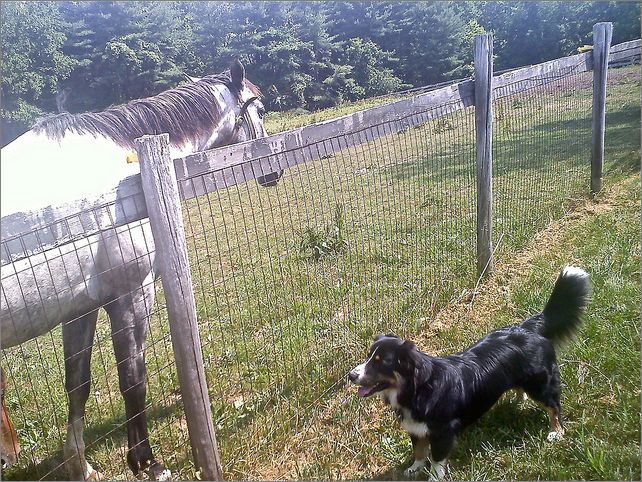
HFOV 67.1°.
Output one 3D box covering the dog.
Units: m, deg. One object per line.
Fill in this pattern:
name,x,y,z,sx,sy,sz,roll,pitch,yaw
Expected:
dog,1.298,1.092,3.910,2.102,1.028,0.697,-16,18,-16
